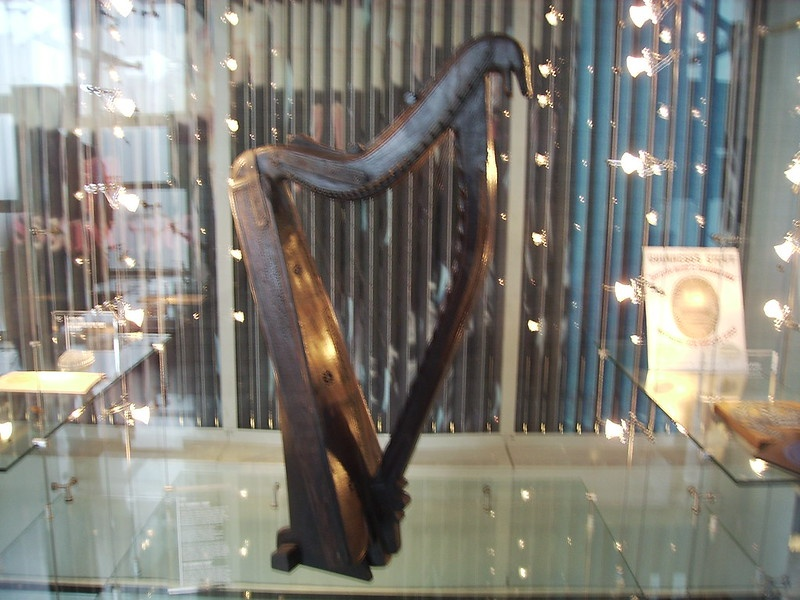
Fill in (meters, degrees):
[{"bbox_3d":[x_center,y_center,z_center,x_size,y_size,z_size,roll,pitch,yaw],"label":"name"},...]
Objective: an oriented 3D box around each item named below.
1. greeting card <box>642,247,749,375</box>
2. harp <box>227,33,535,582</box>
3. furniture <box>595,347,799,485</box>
[{"bbox_3d":[1.141,0.050,3.009,0.442,0.661,0.065,-1,-5,4],"label":"greeting card"},{"bbox_3d":[-0.053,0.090,2.654,0.927,1.720,0.414,-5,-6,17],"label":"harp"},{"bbox_3d":[1.167,0.405,2.923,0.616,0.515,0.551,-5,-7,12],"label":"furniture"}]
